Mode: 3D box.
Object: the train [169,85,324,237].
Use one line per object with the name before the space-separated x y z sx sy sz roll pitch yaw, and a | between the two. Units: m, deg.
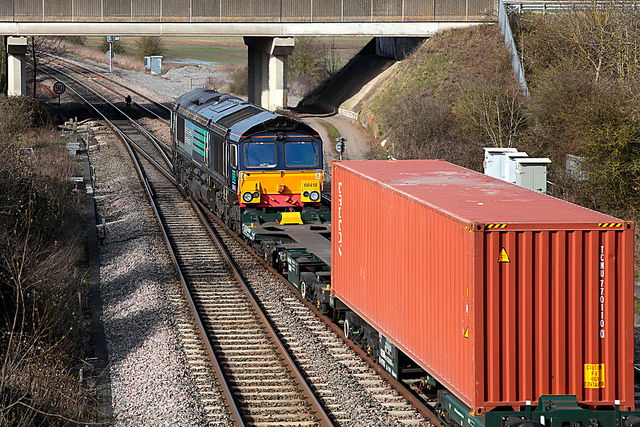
train | -3.560 -2.980 33.317 3.184 4.467 11.631 -4 15 -16
